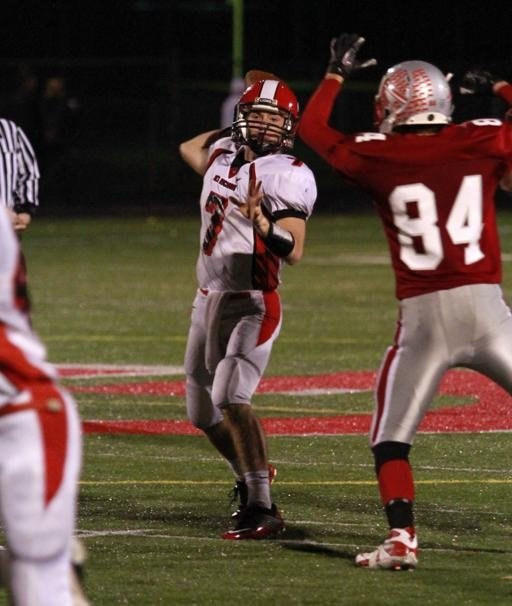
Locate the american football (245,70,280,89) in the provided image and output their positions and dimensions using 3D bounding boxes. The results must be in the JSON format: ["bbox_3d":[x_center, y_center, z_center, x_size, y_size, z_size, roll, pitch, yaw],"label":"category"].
[{"bbox_3d":[0.011,-1.021,4.561,0.242,0.040,0.137,1,4,1],"label":"american football"}]

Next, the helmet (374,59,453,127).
[{"bbox_3d":[0.568,-0.746,3.561,0.287,0.218,0.303,-10,20,-13],"label":"helmet"}]

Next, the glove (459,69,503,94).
[{"bbox_3d":[0.871,-0.880,3.967,0.192,0.058,0.115,3,2,-4],"label":"glove"}]
